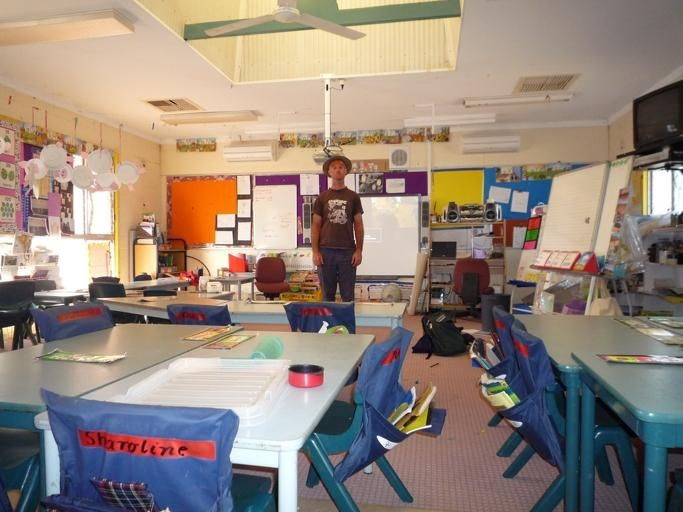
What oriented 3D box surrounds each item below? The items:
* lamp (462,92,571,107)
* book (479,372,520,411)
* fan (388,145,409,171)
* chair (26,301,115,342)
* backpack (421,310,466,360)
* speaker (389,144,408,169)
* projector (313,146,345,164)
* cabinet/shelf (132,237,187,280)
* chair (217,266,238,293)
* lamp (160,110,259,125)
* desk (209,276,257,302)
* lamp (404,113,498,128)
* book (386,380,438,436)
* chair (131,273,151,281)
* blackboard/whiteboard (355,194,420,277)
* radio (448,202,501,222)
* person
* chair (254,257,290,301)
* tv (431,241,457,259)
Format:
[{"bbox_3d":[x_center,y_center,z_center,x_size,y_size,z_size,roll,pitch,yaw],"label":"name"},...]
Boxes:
[{"bbox_3d":[2.332,-2.079,6.771,0.821,0.106,0.057,1,-18,20],"label":"lamp"},{"bbox_3d":[0.746,0.648,2.436,0.072,0.175,0.175,-36,25,6],"label":"book"},{"bbox_3d":[0.940,-1.574,8.253,0.447,0.459,0.167,0,2,1],"label":"fan"},{"bbox_3d":[-1.504,0.360,2.865,0.220,0.170,0.475,20,7,10],"label":"chair"},{"bbox_3d":[1.070,0.841,5.412,0.378,0.250,0.452,-3,42,-13],"label":"backpack"},{"bbox_3d":[0.930,-1.590,8.255,0.460,0.473,0.172,0,1,2],"label":"speaker"},{"bbox_3d":[-0.158,-1.179,5.910,0.345,0.153,0.443,-2,3,-9],"label":"projector"},{"bbox_3d":[-2.970,0.047,8.356,0.266,0.695,0.725,1,3,13],"label":"cabinet/shelf"},{"bbox_3d":[-1.727,0.332,7.755,0.376,0.231,0.493,1,10,-1],"label":"chair"},{"bbox_3d":[-1.915,-2.079,7.677,1.466,0.157,0.582,2,9,12],"label":"lamp"},{"bbox_3d":[-1.611,0.550,7.648,0.599,0.526,0.421,-1,0,6],"label":"desk"},{"bbox_3d":[1.677,-1.938,7.512,1.010,0.251,0.146,1,13,6],"label":"lamp"},{"bbox_3d":[0.300,0.620,2.108,0.185,0.054,0.135,-34,12,-19],"label":"book"},{"bbox_3d":[-2.782,0.280,7.160,0.128,0.151,0.132,-6,-2,-35],"label":"chair"},{"bbox_3d":[0.773,-0.306,7.883,1.473,1.504,0.069,0,0,8],"label":"blackboard/whiteboard"},{"bbox_3d":[1.936,-0.641,7.634,0.761,0.299,0.285,2,9,8],"label":"radio"},{"bbox_3d":[-0.030,-0.250,4.513,0.433,1.244,0.511,1,10,0],"label":"person"},{"bbox_3d":[-1.061,0.316,7.603,0.576,0.825,0.606,-1,3,-17],"label":"chair"},{"bbox_3d":[1.544,-0.093,7.687,0.363,0.243,0.235,1,-4,11],"label":"tv"}]
